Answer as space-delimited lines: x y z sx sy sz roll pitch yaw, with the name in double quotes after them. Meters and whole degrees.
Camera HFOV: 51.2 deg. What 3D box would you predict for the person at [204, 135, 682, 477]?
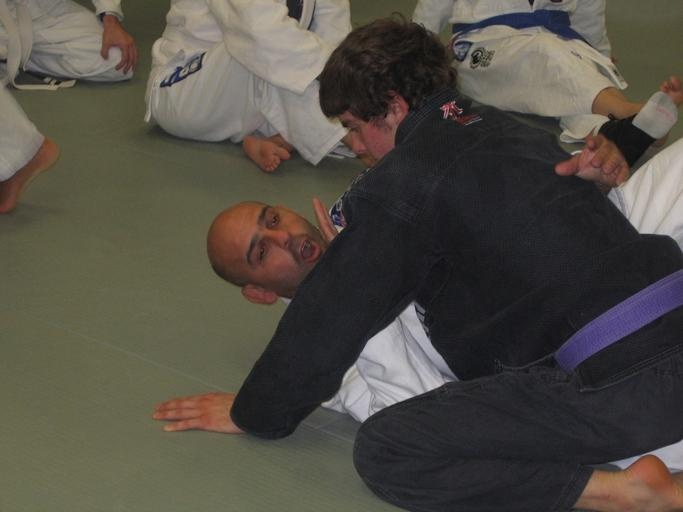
0.296 0.234 2.279 1.183 0.416 1.063 0 42 37 "person"
